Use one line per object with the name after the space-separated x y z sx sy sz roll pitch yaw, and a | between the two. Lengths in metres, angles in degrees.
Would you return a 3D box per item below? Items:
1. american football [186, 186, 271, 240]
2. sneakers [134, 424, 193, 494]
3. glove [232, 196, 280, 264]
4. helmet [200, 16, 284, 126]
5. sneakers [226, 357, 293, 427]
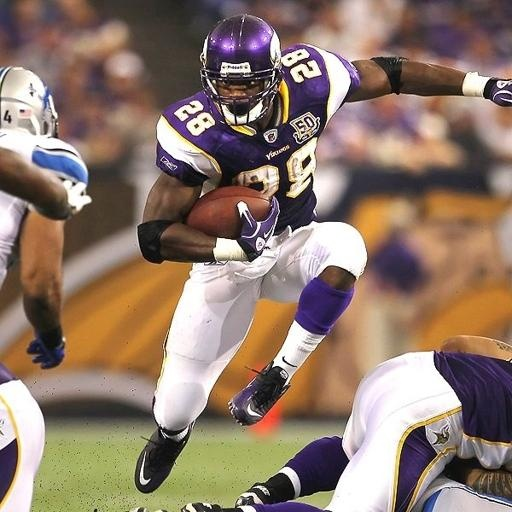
-0.092 -0.137 2.400 0.292 0.153 0.189 -1 -4 10 | american football
-0.380 0.807 2.761 0.141 0.128 0.316 39 56 -10 | sneakers
0.006 -0.083 2.316 0.100 0.197 0.128 8 -11 40 | glove
0.002 -0.620 2.384 0.306 0.301 0.349 0 56 11 | helmet
0.015 0.467 2.370 0.121 0.283 0.116 51 6 2 | sneakers
